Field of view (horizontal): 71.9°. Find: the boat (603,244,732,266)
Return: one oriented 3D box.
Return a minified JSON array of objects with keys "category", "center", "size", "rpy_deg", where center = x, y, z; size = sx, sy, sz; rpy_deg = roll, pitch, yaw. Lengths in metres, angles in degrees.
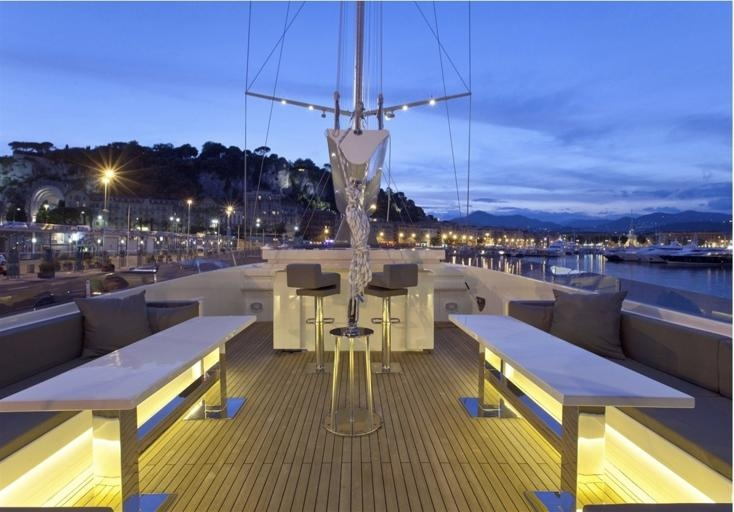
[{"category":"boat","center":[12.126,0.023,20.662],"size":[4.136,1.108,1.250],"rpy_deg":[2,0,29]}]

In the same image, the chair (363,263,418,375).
[{"category":"chair","center":[0.302,0.727,6.165],"size":[0.612,1.291,0.637],"rpy_deg":[-1,5,3]}]

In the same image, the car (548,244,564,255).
[{"category":"car","center":[18.439,-0.552,48.929],"size":[1.592,1.045,2.700],"rpy_deg":[4,7,34]}]

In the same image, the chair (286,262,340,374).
[{"category":"chair","center":[-0.624,0.726,6.100],"size":[0.469,1.274,0.546],"rpy_deg":[3,7,39]}]

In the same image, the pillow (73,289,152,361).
[{"category":"pillow","center":[-2.634,0.739,5.186],"size":[0.509,0.549,0.185],"rpy_deg":[-9,-13,-35]}]

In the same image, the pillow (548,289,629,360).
[{"category":"pillow","center":[2.294,0.722,5.171],"size":[0.547,0.557,0.203],"rpy_deg":[6,-20,35]}]
